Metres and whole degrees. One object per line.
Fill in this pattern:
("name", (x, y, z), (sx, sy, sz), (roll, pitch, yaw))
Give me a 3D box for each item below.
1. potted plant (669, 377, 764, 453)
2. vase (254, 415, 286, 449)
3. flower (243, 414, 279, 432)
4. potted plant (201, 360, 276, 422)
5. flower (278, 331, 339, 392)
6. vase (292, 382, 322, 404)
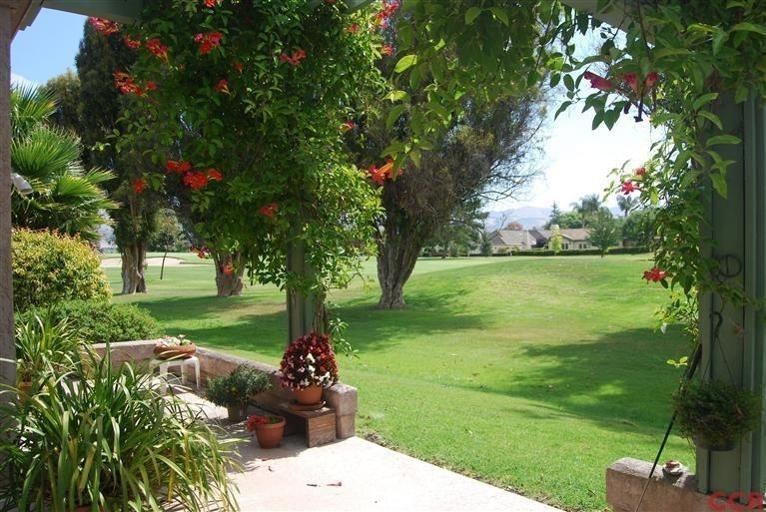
("potted plant", (2.220, 1.038, 3.557), (0.418, 0.466, 0.493), (-4, -3, 31))
("vase", (-1.234, 1.887, 5.726), (0.332, 0.259, 0.335), (5, -4, -23))
("flower", (-1.323, 1.760, 5.672), (0.248, 0.104, 0.257), (-5, -8, 30))
("potted plant", (-1.752, 1.545, 6.442), (0.644, 0.640, 0.731), (1, -3, -14))
("flower", (-0.750, 1.139, 5.783), (0.566, 0.575, 0.579), (-11, -13, 38))
("vase", (-0.838, 1.475, 5.715), (0.231, 0.178, 0.241), (-2, -3, 16))
